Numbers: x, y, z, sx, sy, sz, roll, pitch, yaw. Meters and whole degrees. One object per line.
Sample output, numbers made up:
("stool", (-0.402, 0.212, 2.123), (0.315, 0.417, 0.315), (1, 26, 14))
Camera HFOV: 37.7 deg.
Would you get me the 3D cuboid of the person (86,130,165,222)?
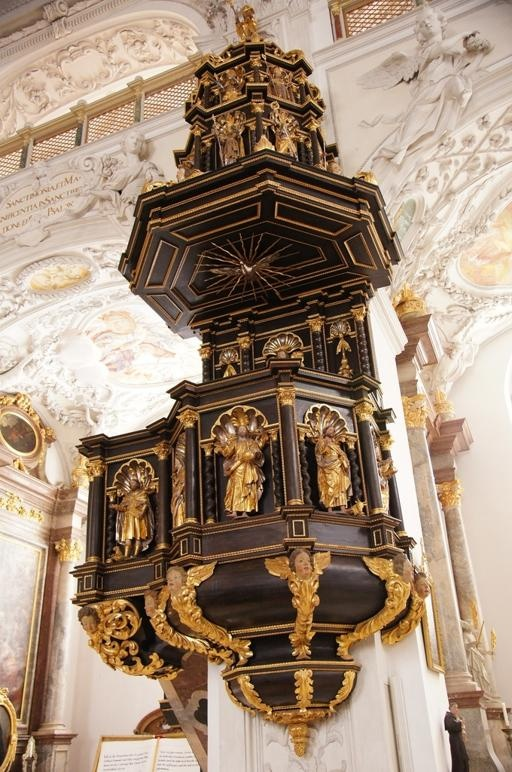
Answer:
("person", (-1.257, -2.085, 7.431), (0.740, 0.931, 0.271), (-7, -15, 11))
